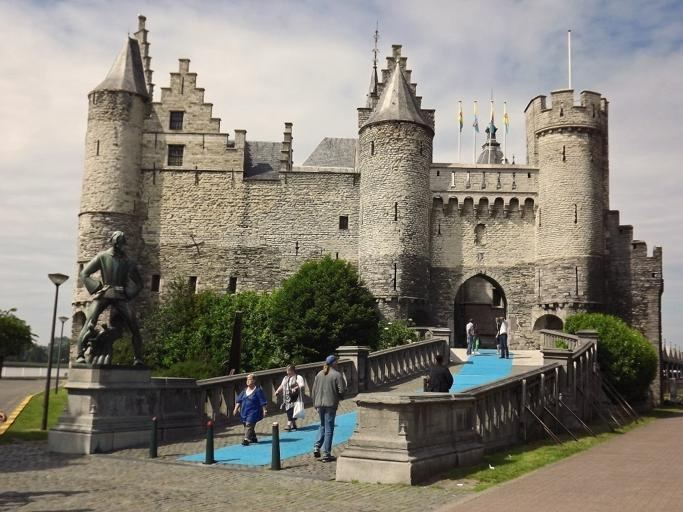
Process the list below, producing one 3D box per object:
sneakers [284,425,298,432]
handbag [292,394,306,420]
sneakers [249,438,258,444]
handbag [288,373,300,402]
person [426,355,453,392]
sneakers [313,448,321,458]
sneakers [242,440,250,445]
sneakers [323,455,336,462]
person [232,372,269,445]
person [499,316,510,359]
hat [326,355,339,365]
[{"bbox_3d":[-1.410,4.776,22.840,0.127,0.231,0.368,1,1,29],"label":"sneakers"},{"bbox_3d":[-1.236,4.196,22.893,0.270,0.629,0.458,0,-4,-1],"label":"handbag"},{"bbox_3d":[-2.267,4.764,21.306,0.098,0.116,0.298,-2,-4,26],"label":"sneakers"},{"bbox_3d":[-1.394,3.801,23.292,0.302,0.487,0.386,0,-14,-20],"label":"handbag"},{"bbox_3d":[2.356,2.897,20.253,0.595,0.938,1.602,-1,-4,5],"label":"person"},{"bbox_3d":[-0.597,4.693,19.645,0.161,0.229,0.227,0,-4,-7],"label":"sneakers"},{"bbox_3d":[-2.484,4.778,21.177,0.177,0.155,0.309,1,-4,-13],"label":"sneakers"},{"bbox_3d":[-0.318,4.743,19.348,0.380,0.139,0.123,0,-1,-34],"label":"sneakers"},{"bbox_3d":[-2.395,4.013,21.593,0.681,1.731,0.948,0,-4,-10],"label":"person"},{"bbox_3d":[7.330,3.805,37.473,0.383,1.697,1.080,-1,-4,9],"label":"person"},{"bbox_3d":[-0.288,2.594,20.538,0.192,0.124,0.267,5,9,32],"label":"hat"}]
